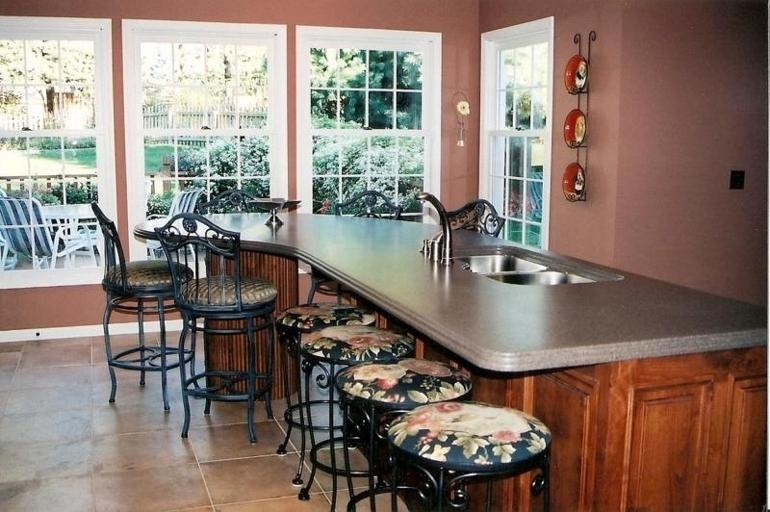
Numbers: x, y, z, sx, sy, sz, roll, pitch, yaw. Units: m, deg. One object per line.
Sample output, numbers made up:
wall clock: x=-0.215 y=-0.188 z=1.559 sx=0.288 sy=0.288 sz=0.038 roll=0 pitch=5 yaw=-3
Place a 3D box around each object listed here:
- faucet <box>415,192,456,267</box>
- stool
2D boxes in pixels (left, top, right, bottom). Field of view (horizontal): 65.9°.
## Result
faucet: x=0.281 y=-0.185 z=3.299 sx=0.197 sy=0.373 sz=0.476 roll=2 pitch=13 yaw=6
stool: x=-0.085 y=0.709 z=3.329 sx=0.974 sy=0.969 sz=0.917 roll=-5 pitch=19 yaw=-29
